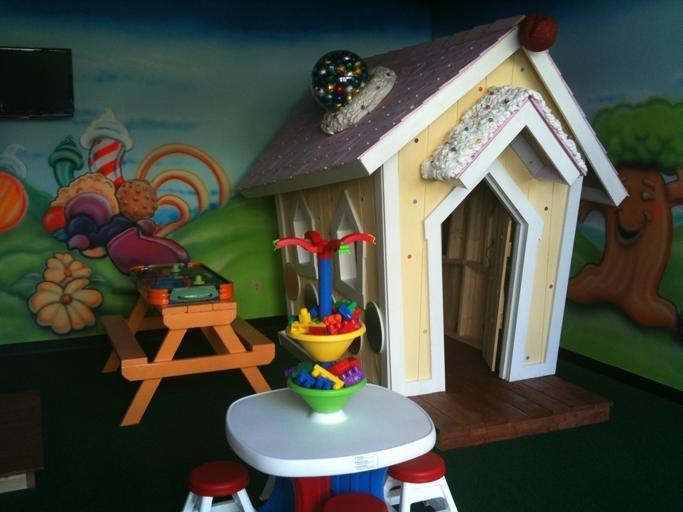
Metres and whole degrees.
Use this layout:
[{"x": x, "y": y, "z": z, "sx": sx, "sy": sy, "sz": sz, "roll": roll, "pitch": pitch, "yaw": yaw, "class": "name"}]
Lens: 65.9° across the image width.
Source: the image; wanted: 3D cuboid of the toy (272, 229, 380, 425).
[{"x": -0.074, "y": 0.329, "z": 2.634, "sx": 0.489, "sy": 0.688, "sz": 0.294, "roll": -2, "pitch": 1, "yaw": 3, "class": "toy"}]
